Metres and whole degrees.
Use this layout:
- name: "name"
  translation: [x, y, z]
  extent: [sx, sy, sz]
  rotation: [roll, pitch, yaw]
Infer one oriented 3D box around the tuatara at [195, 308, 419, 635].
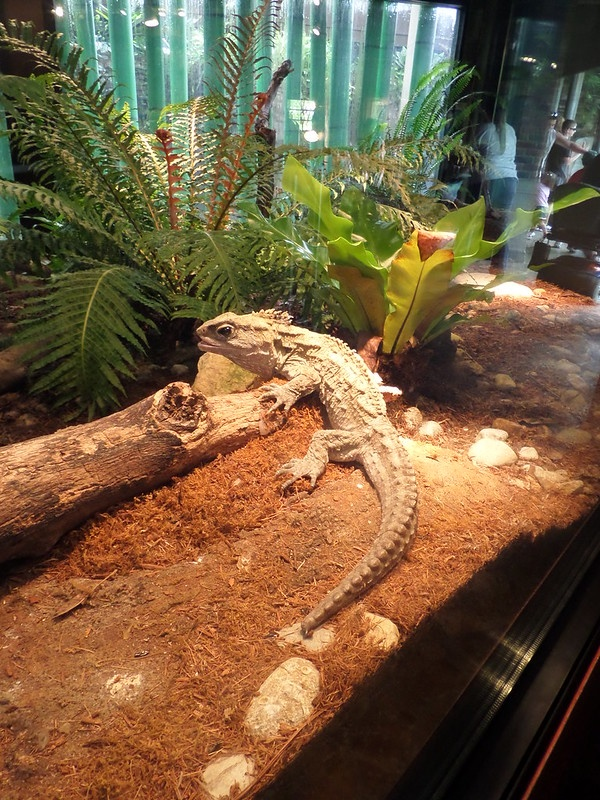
- name: "tuatara"
  translation: [0.100, 0.108, 1.807]
  extent: [0.727, 0.145, 0.603]
  rotation: [28, 37, 33]
